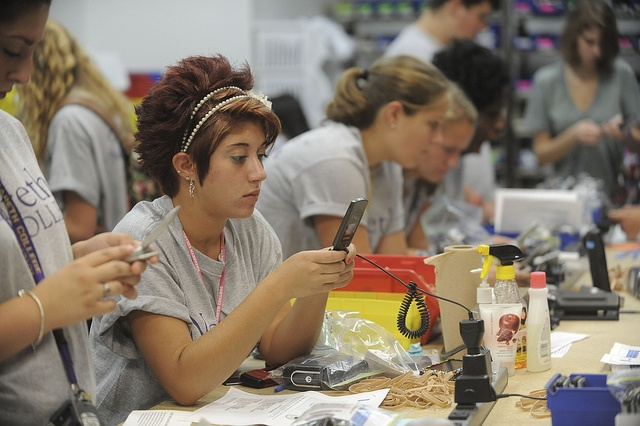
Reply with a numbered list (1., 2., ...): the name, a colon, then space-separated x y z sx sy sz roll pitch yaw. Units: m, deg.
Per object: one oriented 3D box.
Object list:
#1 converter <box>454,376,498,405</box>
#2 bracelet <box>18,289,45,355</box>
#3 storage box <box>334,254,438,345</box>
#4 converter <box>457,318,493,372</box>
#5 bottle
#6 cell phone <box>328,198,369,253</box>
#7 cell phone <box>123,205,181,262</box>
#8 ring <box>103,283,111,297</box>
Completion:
1. converter: 0.514 0.569 2.147 0.095 0.067 0.100 0 -3 7
2. bracelet: -0.874 0.339 2.041 0.144 0.175 0.041 1 0 20
3. storage box: 0.290 0.319 2.848 0.375 0.189 0.400 5 10 16
4. converter: 0.539 0.459 2.250 0.105 0.201 0.191 0 6 15
5. bottle: 0.848 0.405 2.514 0.085 0.379 0.154 0 6 19
6. cell phone: 0.112 0.041 2.352 0.133 0.195 0.131 -4 6 -19
7. cell phone: -0.517 0.060 2.060 0.161 0.168 0.154 -1 6 7
8. ring: -0.655 0.235 1.993 0.032 0.035 0.029 5 1 4
